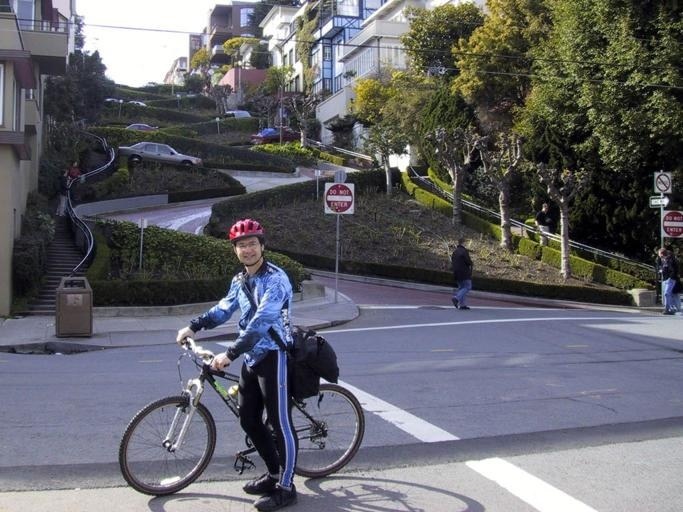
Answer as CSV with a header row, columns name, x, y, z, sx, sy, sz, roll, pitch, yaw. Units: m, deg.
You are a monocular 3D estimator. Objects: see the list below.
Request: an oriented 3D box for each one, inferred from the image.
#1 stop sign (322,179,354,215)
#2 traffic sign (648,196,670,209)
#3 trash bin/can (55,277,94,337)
name,x,y,z,sx,sy,sz,roll,pitch,yaw
stop sign,-0.048,-1.687,25.818,0.837,0.953,0.825,2,5,-6
traffic sign,10.666,-1.837,29.828,0.793,0.628,0.138,1,9,10
trash bin/can,-6.317,1.193,21.062,0.839,1.300,0.991,1,6,-19
